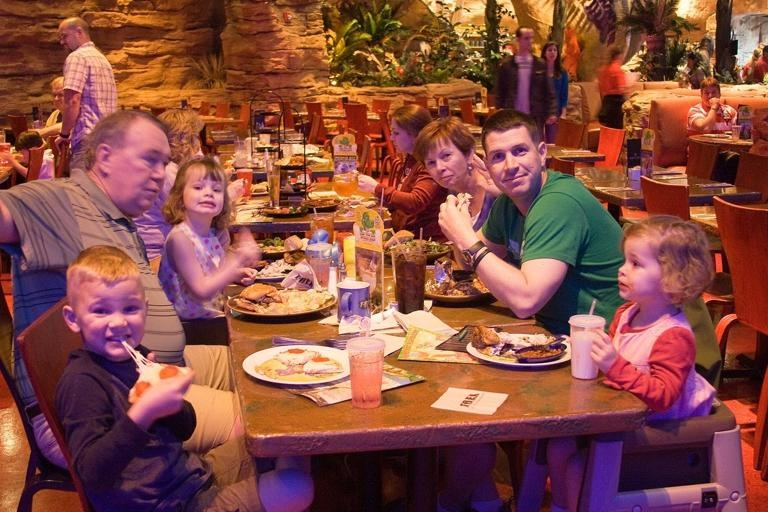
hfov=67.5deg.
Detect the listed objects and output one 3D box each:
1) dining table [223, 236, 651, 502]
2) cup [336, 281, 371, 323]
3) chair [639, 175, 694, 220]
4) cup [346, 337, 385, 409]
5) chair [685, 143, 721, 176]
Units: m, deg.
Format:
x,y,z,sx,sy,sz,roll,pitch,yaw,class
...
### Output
x,y,z,sx,sy,sz,roll,pitch,yaw,class
0.075,0.302,1.724,0.751,0.641,0.694,-4,18,-13,dining table
-0.104,0.150,2.049,0.097,0.121,0.146,1,9,11,cup
1.770,-0.366,3.595,0.271,0.259,0.517,0,8,20,chair
-0.046,0.317,1.554,0.096,0.180,0.065,-3,9,1,cup
2.973,-0.900,5.351,0.189,0.354,0.462,-3,8,1,chair
